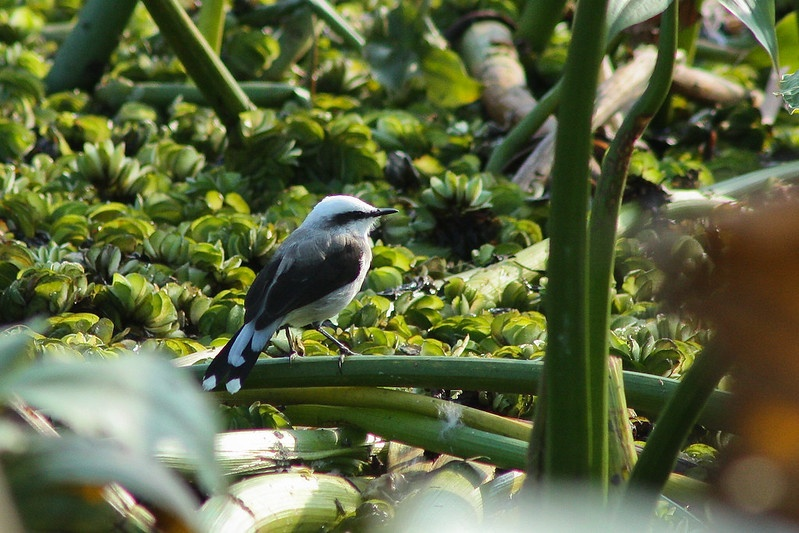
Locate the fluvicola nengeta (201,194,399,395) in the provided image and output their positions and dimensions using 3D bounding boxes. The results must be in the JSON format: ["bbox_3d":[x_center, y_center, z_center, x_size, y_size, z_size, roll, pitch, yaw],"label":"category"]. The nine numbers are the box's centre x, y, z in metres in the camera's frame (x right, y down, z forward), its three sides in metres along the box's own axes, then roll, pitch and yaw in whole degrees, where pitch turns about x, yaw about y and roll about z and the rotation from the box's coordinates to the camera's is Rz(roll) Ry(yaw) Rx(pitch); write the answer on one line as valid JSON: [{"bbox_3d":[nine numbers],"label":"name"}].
[{"bbox_3d":[-0.296,0.063,2.849,0.642,0.453,0.278,-14,13,-41],"label":"fluvicola nengeta"}]
